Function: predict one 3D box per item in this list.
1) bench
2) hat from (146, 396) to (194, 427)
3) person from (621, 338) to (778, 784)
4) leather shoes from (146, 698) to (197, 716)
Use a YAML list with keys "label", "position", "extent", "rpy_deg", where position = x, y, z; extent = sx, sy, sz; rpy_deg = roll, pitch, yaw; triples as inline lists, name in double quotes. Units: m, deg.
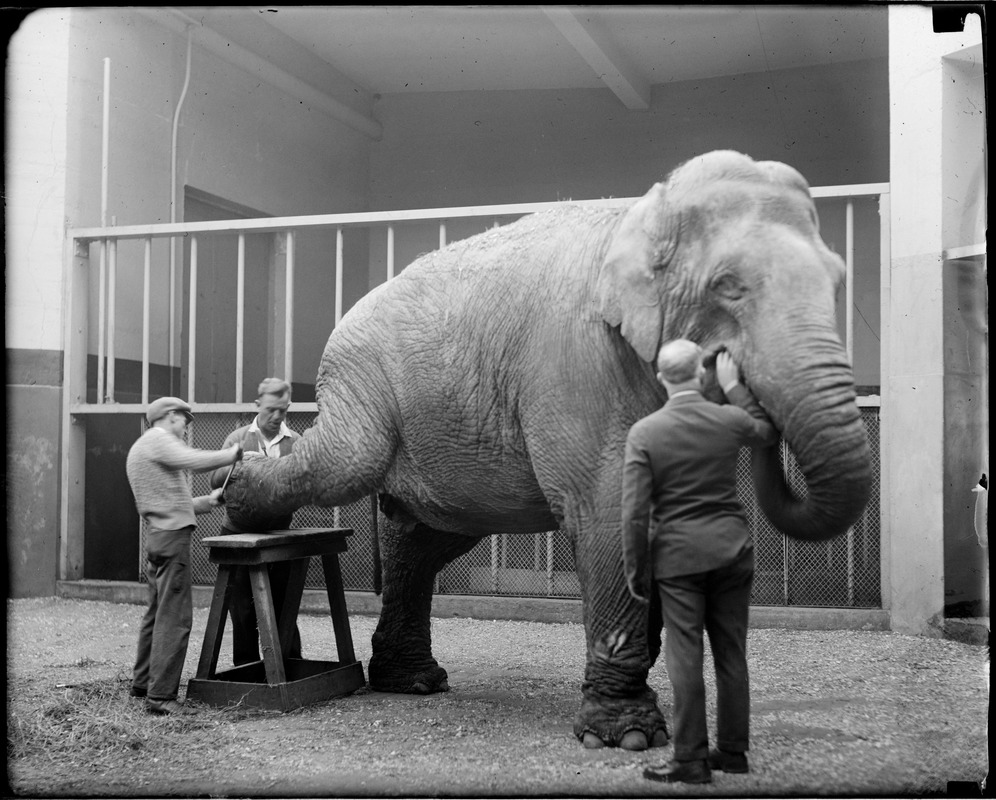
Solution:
- label: "bench"
  position: [-1.355, 1.361, 6.782]
  extent: [0.679, 1.042, 1.037]
  rpy_deg: [-3, -5, 25]
- label: "hat"
  position: [-1.939, 0.065, 6.478]
  extent: [0.248, 0.134, 0.179]
  rpy_deg: [-6, 1, -32]
- label: "person"
  position: [0.937, 0.749, 5.159]
  extent: [0.664, 2.045, 0.280]
  rpy_deg: [0, -1, 12]
- label: "leather shoes"
  position: [-1.866, 1.740, 6.262]
  extent: [0.295, 0.133, 0.111]
  rpy_deg: [3, 0, -1]
